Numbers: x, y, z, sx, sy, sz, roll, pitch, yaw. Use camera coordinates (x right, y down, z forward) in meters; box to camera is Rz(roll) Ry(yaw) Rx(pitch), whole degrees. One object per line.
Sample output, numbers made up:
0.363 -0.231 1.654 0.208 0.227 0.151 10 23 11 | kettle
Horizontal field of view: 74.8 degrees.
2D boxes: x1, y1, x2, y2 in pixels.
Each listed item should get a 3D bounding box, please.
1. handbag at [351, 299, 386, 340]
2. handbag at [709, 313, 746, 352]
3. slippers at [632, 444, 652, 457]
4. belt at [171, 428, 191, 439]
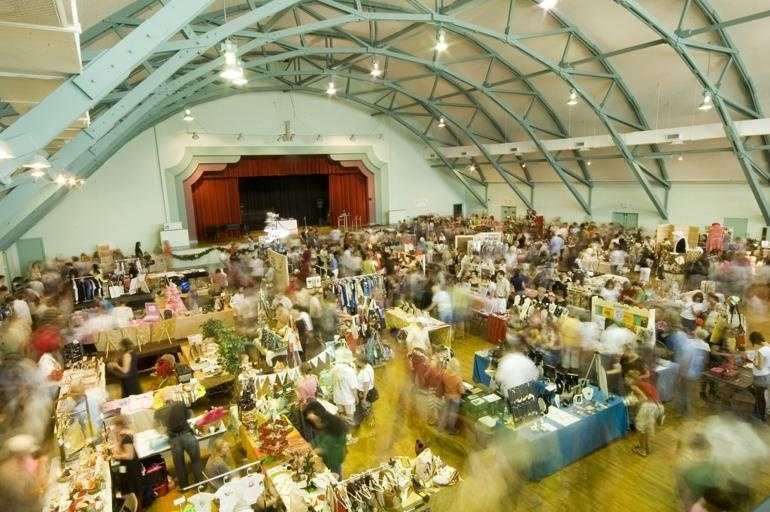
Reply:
-0.440 1.517 12.093 0.647 0.977 0.333 5 -10 -15 | handbag
7.395 1.643 10.835 0.534 0.809 0.769 1 4 -30 | handbag
4.628 3.526 9.136 0.138 0.096 0.260 -9 9 -7 | slippers
-3.476 2.999 8.587 0.298 0.115 0.070 -2 -2 -21 | belt
